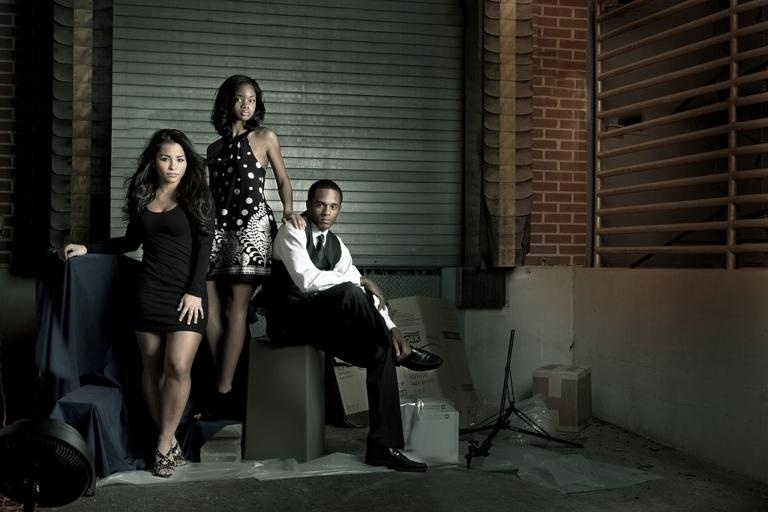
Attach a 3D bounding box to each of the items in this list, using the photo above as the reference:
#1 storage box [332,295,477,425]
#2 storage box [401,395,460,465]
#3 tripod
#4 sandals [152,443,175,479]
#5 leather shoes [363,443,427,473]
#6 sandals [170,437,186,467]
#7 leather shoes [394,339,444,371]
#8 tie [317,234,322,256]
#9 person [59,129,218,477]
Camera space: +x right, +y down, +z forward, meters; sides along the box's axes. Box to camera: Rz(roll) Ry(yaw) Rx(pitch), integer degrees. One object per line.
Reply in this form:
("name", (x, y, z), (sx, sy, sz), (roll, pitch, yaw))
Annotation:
("storage box", (0.318, 0.990, 6.838), (1.289, 1.079, 0.296), (-3, -11, -25))
("storage box", (0.522, 1.363, 5.596), (0.504, 0.422, 0.627), (-2, -15, 26))
("tripod", (1.067, 1.083, 5.858), (1.003, 0.921, 0.973), (0, -1, 14))
("sandals", (-1.548, 1.443, 5.139), (0.167, 0.190, 0.143), (1, 1, -15))
("leather shoes", (0.054, 1.456, 5.303), (0.486, 0.183, 0.159), (-2, -5, 12))
("sandals", (-1.485, 1.413, 5.254), (0.062, 0.204, 0.077), (1, 9, 34))
("leather shoes", (0.230, 0.765, 5.577), (0.425, 0.144, 0.160), (0, -34, 14))
("tie", (-0.488, -0.095, 5.487), (0.032, 0.118, 0.031), (4, -21, -17))
("person", (-1.530, 0.310, 5.238), (0.597, 2.451, 0.371), (1, 1, -18))
